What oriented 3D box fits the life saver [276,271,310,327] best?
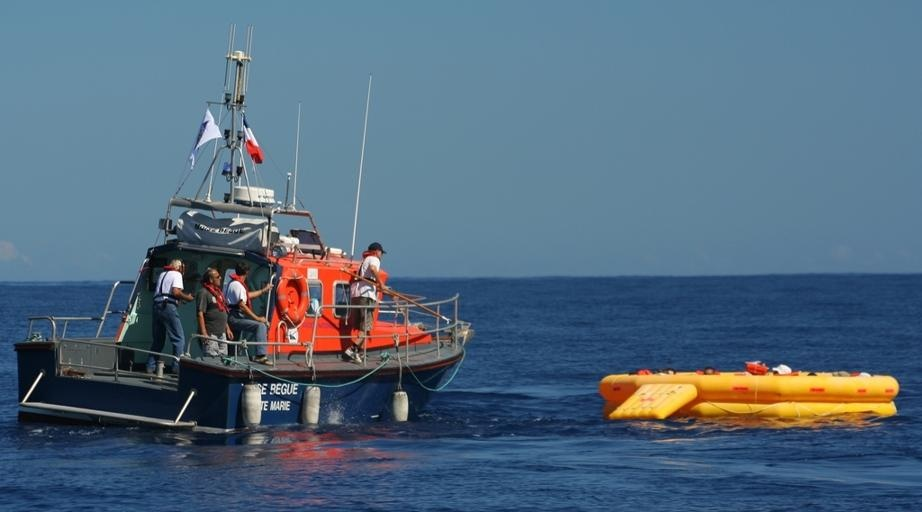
[{"bbox_3d":[-5.952,1.543,60.418,1.492,1.559,0.462,8,-7,-43],"label":"life saver"}]

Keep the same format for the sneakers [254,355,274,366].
[{"bbox_3d":[-6.850,3.571,59.580,0.747,0.277,0.268,4,10,3],"label":"sneakers"}]

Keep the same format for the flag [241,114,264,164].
[{"bbox_3d":[-7.674,-4.248,62.242,0.530,2.249,0.246,3,-44,-26],"label":"flag"}]

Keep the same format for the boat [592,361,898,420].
[{"bbox_3d":[12.023,5.183,64.690,9.627,1.569,8.985,-2,-3,30],"label":"boat"}]

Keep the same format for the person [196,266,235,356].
[{"bbox_3d":[-8.605,1.860,59.592,1.053,3.004,1.094,0,0,16],"label":"person"}]
